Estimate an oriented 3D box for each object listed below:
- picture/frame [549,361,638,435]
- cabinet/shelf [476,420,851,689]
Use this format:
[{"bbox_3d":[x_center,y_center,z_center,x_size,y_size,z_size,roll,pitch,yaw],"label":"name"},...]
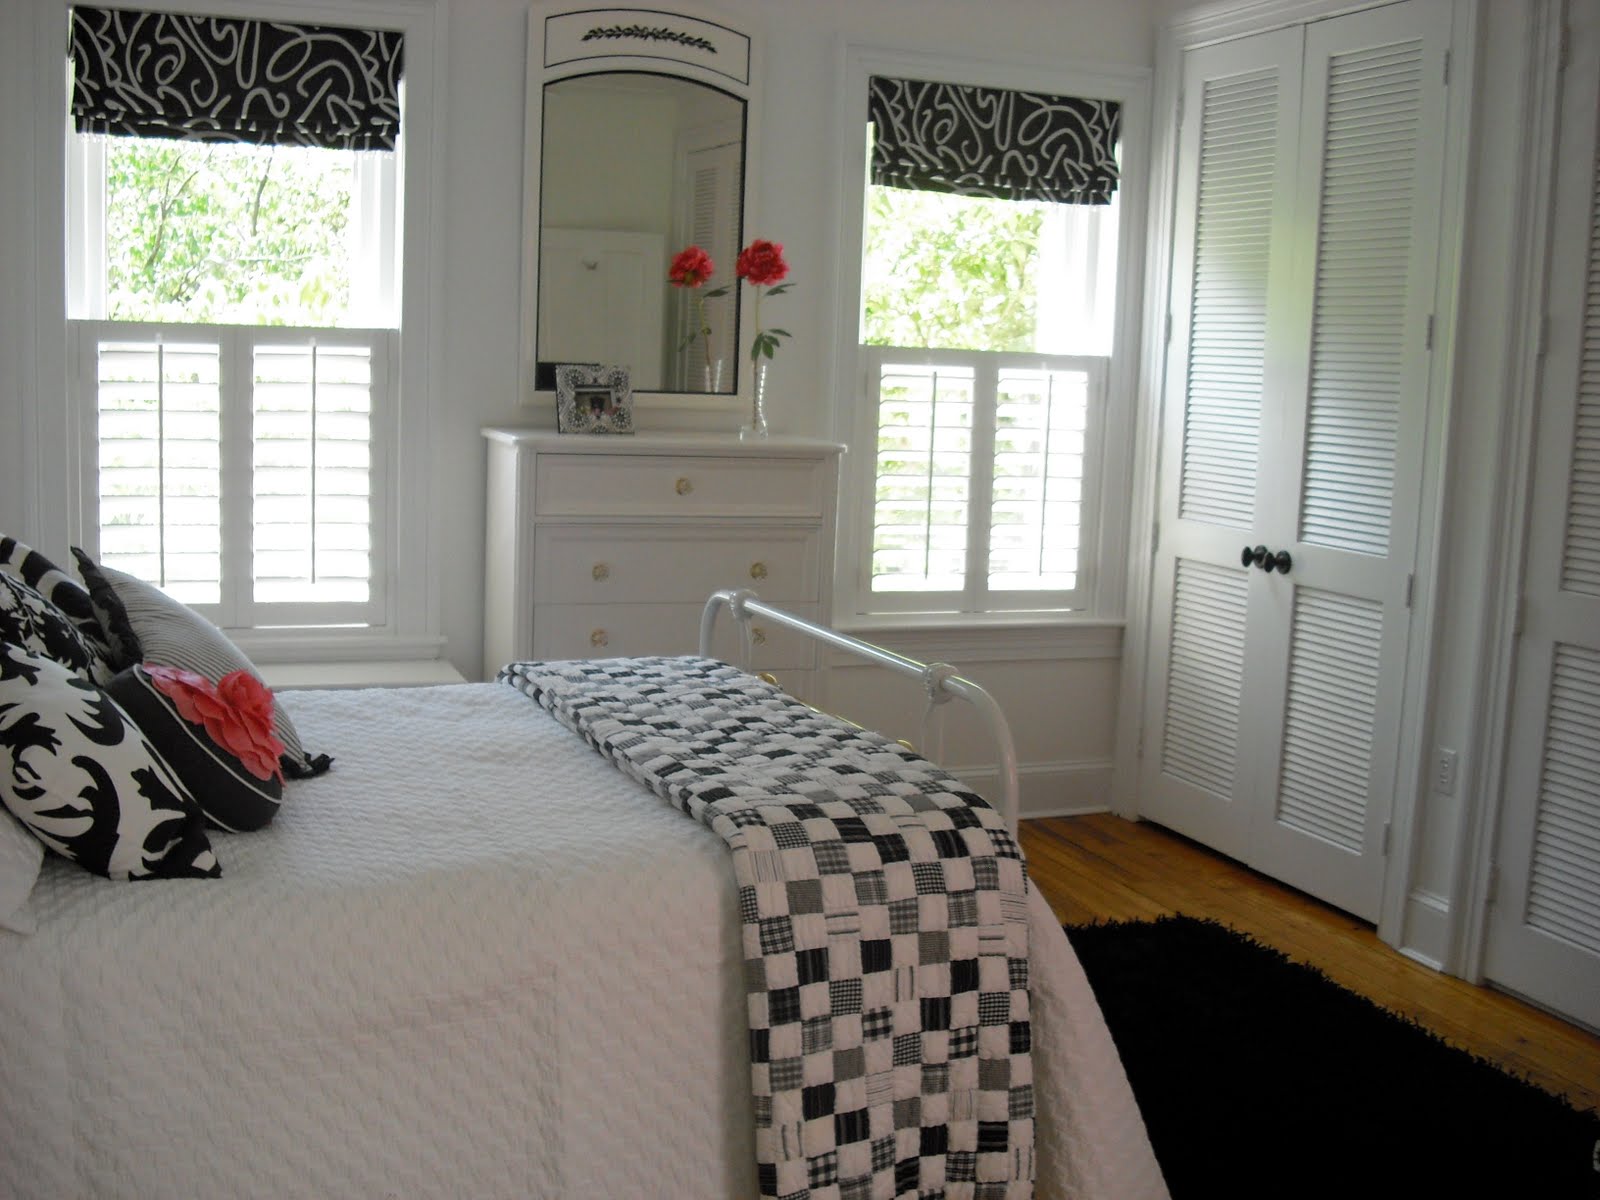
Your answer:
[{"bbox_3d":[-0.624,-0.641,3.678,0.218,0.226,0.051,1,-8,-16],"label":"picture/frame"},{"bbox_3d":[-0.423,-0.133,3.579,0.781,0.782,0.305,-2,7,-17],"label":"cabinet/shelf"}]
